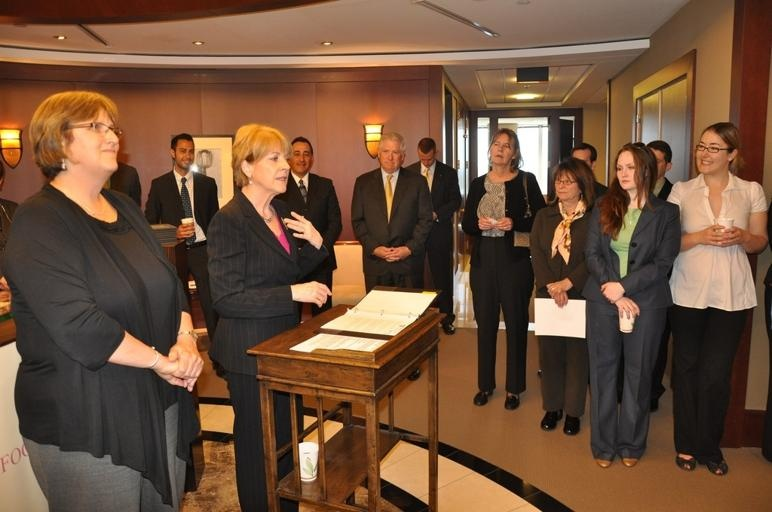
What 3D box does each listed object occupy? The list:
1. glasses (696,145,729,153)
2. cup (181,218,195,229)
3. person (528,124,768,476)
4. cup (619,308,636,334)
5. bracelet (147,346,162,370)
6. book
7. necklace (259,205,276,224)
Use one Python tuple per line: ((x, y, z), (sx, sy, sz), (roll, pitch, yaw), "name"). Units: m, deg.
((2.397, -0.794, 4.315), (0.198, 0.058, 0.063), (9, 18, 35), "glasses")
((-1.717, -0.286, 5.084), (0.077, 0.084, 0.078), (1, -2, 0), "cup")
((2.110, 0.317, 4.354), (1.235, 2.511, 0.767), (3, 15, 16), "person")
((1.711, 0.473, 4.199), (0.092, 0.160, 0.095), (-1, 14, 0), "cup")
((-1.162, 0.518, 2.909), (0.027, 0.093, 0.096), (4, 5, -27), "bracelet")
((-0.060, 0.347, 3.479), (0.529, 0.074, 0.653), (5, 21, 30), "book")
((-0.716, -0.247, 3.574), (0.077, 0.104, 0.031), (1, -31, -34), "necklace")
